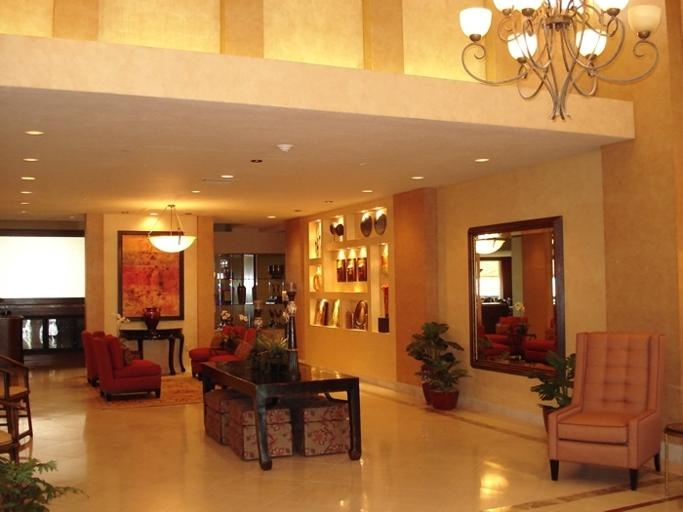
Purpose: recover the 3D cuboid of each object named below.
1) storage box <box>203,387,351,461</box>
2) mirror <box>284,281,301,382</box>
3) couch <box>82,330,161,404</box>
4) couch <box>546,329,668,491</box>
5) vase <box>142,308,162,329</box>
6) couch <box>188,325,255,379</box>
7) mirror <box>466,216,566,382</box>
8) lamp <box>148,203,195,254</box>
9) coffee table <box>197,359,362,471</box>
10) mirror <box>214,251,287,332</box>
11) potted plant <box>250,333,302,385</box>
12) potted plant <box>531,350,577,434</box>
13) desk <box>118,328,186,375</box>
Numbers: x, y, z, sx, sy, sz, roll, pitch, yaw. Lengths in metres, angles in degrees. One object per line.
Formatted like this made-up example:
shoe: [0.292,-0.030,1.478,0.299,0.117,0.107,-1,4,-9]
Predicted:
storage box: [-0.606,1.922,6.147,0.804,0.354,1.041,2,-4,-28]
mirror: [-0.565,0.862,6.420,0.240,1.015,0.240,-8,-10,34]
couch: [-3.912,1.861,9.638,0.992,1.105,1.858,0,-2,-38]
couch: [2.679,1.484,5.514,1.052,1.196,0.928,-6,-1,-38]
vase: [-4.016,1.319,11.630,0.349,0.472,0.446,-1,-1,-18]
couch: [-2.281,1.893,10.525,1.001,0.967,1.606,2,-4,-35]
mirror: [2.383,0.561,7.602,0.087,2.084,1.921,3,-6,-23]
lamp: [-3.550,-0.604,11.389,1.072,0.959,1.013,3,-3,-19]
coffee table: [-0.536,1.939,6.117,1.092,0.782,1.894,2,-5,-25]
mirror: [-2.141,0.922,14.994,2.434,2.075,0.798,-1,5,25]
potted plant: [-0.792,1.186,6.450,0.433,0.334,0.548,1,-2,-14]
potted plant: [2.437,1.612,6.279,0.568,0.803,0.529,-5,-1,30]
desk: [-4.037,2.018,11.758,1.374,0.897,0.856,-3,-3,-18]
